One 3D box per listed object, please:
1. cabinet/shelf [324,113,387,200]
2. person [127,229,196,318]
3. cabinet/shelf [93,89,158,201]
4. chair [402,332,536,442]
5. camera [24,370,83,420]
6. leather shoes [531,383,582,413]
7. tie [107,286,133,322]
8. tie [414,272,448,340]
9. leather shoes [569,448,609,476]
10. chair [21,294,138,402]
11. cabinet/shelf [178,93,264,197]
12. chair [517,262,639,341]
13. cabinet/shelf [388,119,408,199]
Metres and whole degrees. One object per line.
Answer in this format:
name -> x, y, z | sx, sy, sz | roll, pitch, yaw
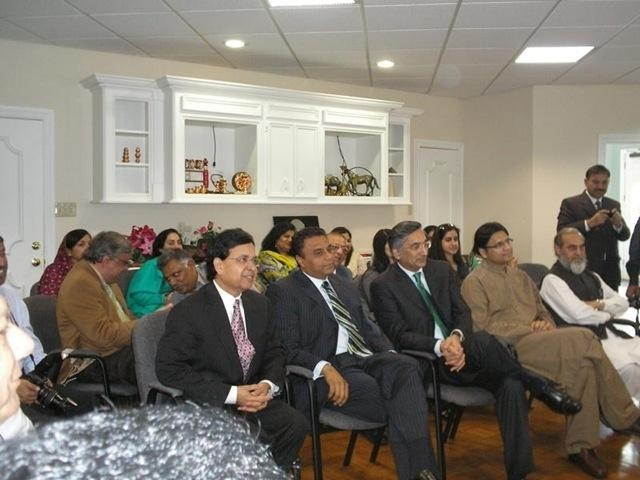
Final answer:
cabinet/shelf -> 0.328, -0.973, 5.661 | 0.767, 0.964, 0.508 | -2, 4, -27
person -> -1.135, 0.351, 3.387 | 0.301, 0.840, 0.383 | 13, 10, 25
cabinet/shelf -> -1.816, -0.888, 4.593 | 0.624, 1.058, 0.365 | -2, 4, -28
chair -> 0.825, 0.782, 2.591 | 0.484, 0.610, 0.558 | 9, -30, -33
camera -> -1.045, 0.597, 1.861 | 0.219, 0.072, 0.053 | 25, -8, 15
leather shoes -> 1.140, 0.778, 2.351 | 0.115, 0.062, 0.172 | -5, 13, -33
tie -> -1.223, 0.381, 2.877 | 0.066, 0.199, 0.148 | -21, -3, 10
tie -> 0.638, 0.402, 2.837 | 0.058, 0.398, 0.045 | -23, -18, -18
leather shoes -> 1.364, 1.135, 2.518 | 0.080, 0.086, 0.216 | -3, -3, -21
chair -> -1.193, 0.550, 2.688 | 0.709, 0.615, 0.512 | 0, -2, 1
cabinet/shelf -> -1.006, -0.960, 4.858 | 1.071, 1.157, 0.380 | 0, -1, -39
chair -> 1.942, 0.458, 3.573 | 0.561, 0.806, 0.664 | 7, -13, -42
cabinet/shelf -> 0.943, -1.006, 5.892 | 0.261, 0.978, 0.127 | -1, 4, -13
